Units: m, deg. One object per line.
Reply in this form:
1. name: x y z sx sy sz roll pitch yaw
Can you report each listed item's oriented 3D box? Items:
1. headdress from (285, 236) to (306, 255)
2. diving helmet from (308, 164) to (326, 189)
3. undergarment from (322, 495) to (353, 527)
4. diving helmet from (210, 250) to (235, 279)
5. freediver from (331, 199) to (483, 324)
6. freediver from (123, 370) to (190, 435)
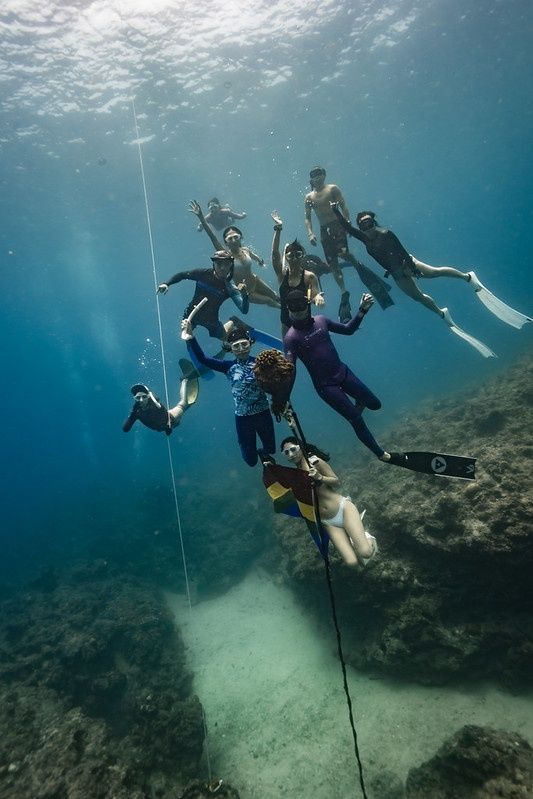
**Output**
1. headdress: 0.683 -3.642 15.803 0.358 0.366 0.439 5 49 22
2. diving helmet: 1.480 -6.617 19.307 0.504 0.628 0.650 -2 1 -1
3. undergarment: 1.653 2.667 15.207 0.581 0.647 0.693 22 -17 -11
4. diving helmet: -1.120 -3.422 16.571 0.587 0.736 0.393 -14 15 -4
5. freediver: 3.778 -3.875 18.351 5.164 1.353 1.392 18 -10 -33
6. freediver: -2.853 0.156 18.522 1.470 1.437 2.774 -4 7 27
